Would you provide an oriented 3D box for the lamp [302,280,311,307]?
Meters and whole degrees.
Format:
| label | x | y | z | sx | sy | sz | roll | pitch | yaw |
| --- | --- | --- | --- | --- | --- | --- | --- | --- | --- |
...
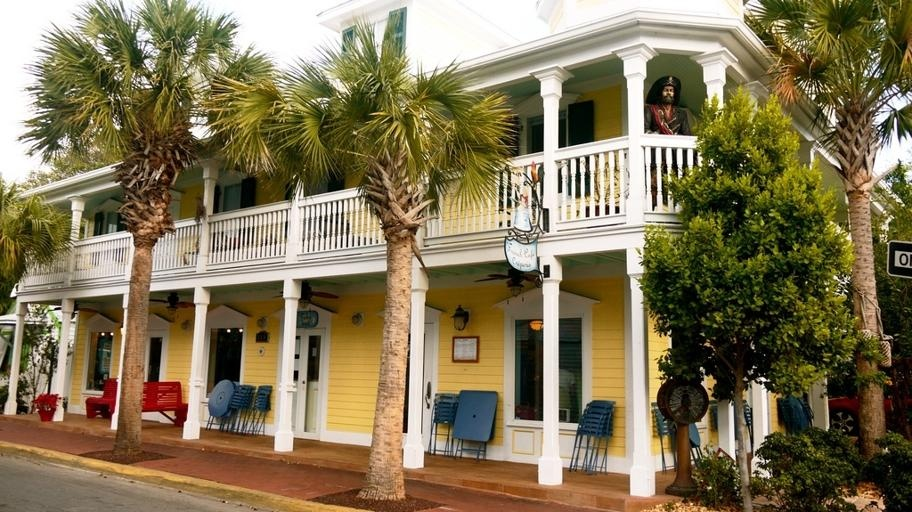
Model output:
| label | x | y | z | sx | sy | sz | roll | pitch | yaw |
| --- | --- | --- | --- | --- | --- | --- | --- | --- | --- |
| lamp | -4.417 | 1.085 | 21.856 | 0.341 | 0.551 | 1.345 | 4 | -14 | -11 |

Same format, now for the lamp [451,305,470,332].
| label | x | y | z | sx | sy | sz | roll | pitch | yaw |
| --- | --- | --- | --- | --- | --- | --- | --- | --- | --- |
| lamp | 0.116 | 1.692 | 20.258 | 0.531 | 0.732 | 0.233 | -5 | -15 | 24 |

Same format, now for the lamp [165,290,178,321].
| label | x | y | z | sx | sy | sz | roll | pitch | yaw |
| --- | --- | --- | --- | --- | --- | --- | --- | --- | --- |
| lamp | -9.574 | 1.653 | 25.031 | 0.365 | 0.781 | 1.828 | 7 | -15 | -20 |

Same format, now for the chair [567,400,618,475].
| label | x | y | z | sx | sy | sz | roll | pitch | yaw |
| --- | --- | --- | --- | --- | --- | --- | --- | --- | --- |
| chair | 3.393 | 4.454 | 18.276 | 1.113 | 1.737 | 0.588 | -4 | -15 | 20 |

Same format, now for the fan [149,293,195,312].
| label | x | y | z | sx | sy | sz | roll | pitch | yaw |
| --- | --- | --- | --- | --- | --- | --- | --- | --- | --- |
| fan | -9.362 | 1.558 | 24.841 | 1.251 | 0.425 | 1.226 | -2 | -9 | 11 |

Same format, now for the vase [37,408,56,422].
| label | x | y | z | sx | sy | sz | roll | pitch | yaw |
| --- | --- | --- | --- | --- | --- | --- | --- | --- | --- |
| vase | -13.733 | 5.349 | 24.727 | 0.465 | 0.333 | 0.475 | -10 | -14 | 42 |

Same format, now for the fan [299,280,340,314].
| label | x | y | z | sx | sy | sz | roll | pitch | yaw |
| --- | --- | --- | --- | --- | --- | --- | --- | --- | --- |
| fan | -4.209 | 1.217 | 22.052 | 1.108 | 0.532 | 0.999 | 2 | -6 | -31 |

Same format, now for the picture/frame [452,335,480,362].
| label | x | y | z | sx | sy | sz | roll | pitch | yaw |
| --- | --- | --- | --- | --- | --- | --- | --- | --- | --- |
| picture/frame | 0.309 | 2.545 | 20.150 | 0.801 | 0.665 | 0.083 | 0 | -6 | 29 |

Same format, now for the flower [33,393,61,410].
| label | x | y | z | sx | sy | sz | roll | pitch | yaw |
| --- | --- | --- | --- | --- | --- | --- | --- | --- | --- |
| flower | -13.684 | 4.855 | 24.749 | 0.613 | 0.385 | 0.583 | 3 | -6 | -17 |
